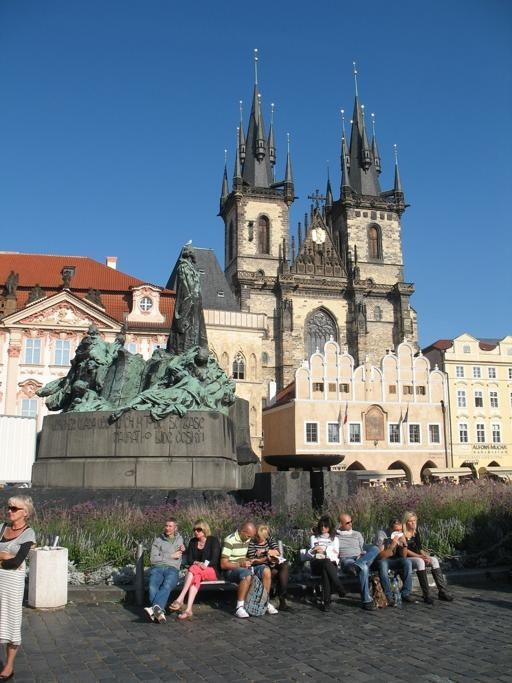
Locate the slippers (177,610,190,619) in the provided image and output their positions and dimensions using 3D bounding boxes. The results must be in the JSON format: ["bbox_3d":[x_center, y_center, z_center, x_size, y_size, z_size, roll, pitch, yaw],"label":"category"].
[{"bbox_3d":[-0.722,2.721,6.258,0.114,0.063,0.225,-2,-12,9],"label":"slippers"}]

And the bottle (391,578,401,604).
[{"bbox_3d":[1.566,2.801,7.078,0.105,0.288,0.243,-4,-13,14],"label":"bottle"}]

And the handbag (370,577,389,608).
[{"bbox_3d":[1.347,2.780,6.963,0.107,0.332,0.171,-14,6,-21],"label":"handbag"}]

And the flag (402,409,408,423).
[{"bbox_3d":[10.412,5.151,44.089,0.577,1.029,0.212,8,-15,-32],"label":"flag"}]

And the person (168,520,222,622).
[{"bbox_3d":[-0.607,2.385,6.685,0.368,0.686,0.966,2,1,13],"label":"person"}]

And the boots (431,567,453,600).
[{"bbox_3d":[2.154,2.803,7.294,0.176,0.328,0.385,0,-12,-2],"label":"boots"}]

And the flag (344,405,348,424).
[{"bbox_3d":[6.086,4.911,43.047,0.154,1.339,0.386,-10,-16,36],"label":"flag"}]

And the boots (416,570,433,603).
[{"bbox_3d":[1.936,2.792,7.250,0.145,0.348,0.561,-3,-13,13],"label":"boots"}]

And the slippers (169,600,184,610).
[{"bbox_3d":[-0.824,2.696,6.440,0.088,0.060,0.168,-1,-19,6],"label":"slippers"}]

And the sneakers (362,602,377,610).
[{"bbox_3d":[1.206,2.822,6.749,0.134,0.131,0.067,-1,-12,9],"label":"sneakers"}]

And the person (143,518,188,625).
[{"bbox_3d":[-0.940,2.336,6.399,0.303,0.343,0.989,13,29,-5],"label":"person"}]

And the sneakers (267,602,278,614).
[{"bbox_3d":[0.167,2.796,6.619,0.063,0.075,0.173,1,-5,4],"label":"sneakers"}]

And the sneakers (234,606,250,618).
[{"bbox_3d":[-0.142,2.754,6.427,0.142,0.102,0.125,3,-13,-14],"label":"sneakers"}]

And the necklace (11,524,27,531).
[{"bbox_3d":[-1.707,1.329,4.534,0.049,0.027,0.069,-1,0,18],"label":"necklace"}]

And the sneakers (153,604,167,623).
[{"bbox_3d":[-0.926,2.565,5.946,0.067,0.201,0.087,-17,28,3],"label":"sneakers"}]

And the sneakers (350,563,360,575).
[{"bbox_3d":[1.131,2.575,7.151,0.068,0.150,0.145,-15,-3,30],"label":"sneakers"}]
